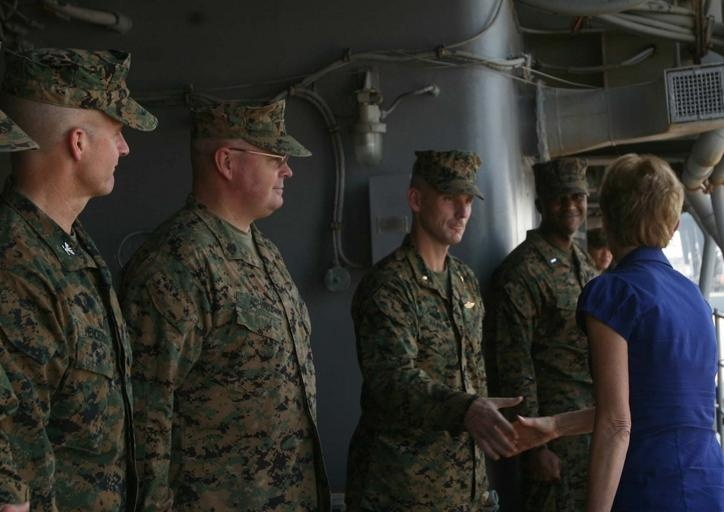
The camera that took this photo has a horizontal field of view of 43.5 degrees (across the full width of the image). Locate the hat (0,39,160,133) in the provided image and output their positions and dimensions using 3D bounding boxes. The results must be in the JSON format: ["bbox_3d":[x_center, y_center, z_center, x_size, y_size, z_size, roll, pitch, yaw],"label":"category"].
[{"bbox_3d":[-1.006,-0.619,3.238,0.430,0.172,0.287,4,18,-26],"label":"hat"}]

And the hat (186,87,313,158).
[{"bbox_3d":[-0.471,-0.551,3.850,0.525,0.198,0.297,10,6,3],"label":"hat"}]

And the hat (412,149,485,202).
[{"bbox_3d":[0.413,-0.403,4.382,0.408,0.206,0.317,11,4,43],"label":"hat"}]

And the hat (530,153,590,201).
[{"bbox_3d":[1.098,-0.431,5.055,0.316,0.188,0.376,-6,4,7],"label":"hat"}]

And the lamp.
[{"bbox_3d":[0.184,-0.732,4.893,0.514,0.467,0.194,0,1,-16],"label":"lamp"}]
